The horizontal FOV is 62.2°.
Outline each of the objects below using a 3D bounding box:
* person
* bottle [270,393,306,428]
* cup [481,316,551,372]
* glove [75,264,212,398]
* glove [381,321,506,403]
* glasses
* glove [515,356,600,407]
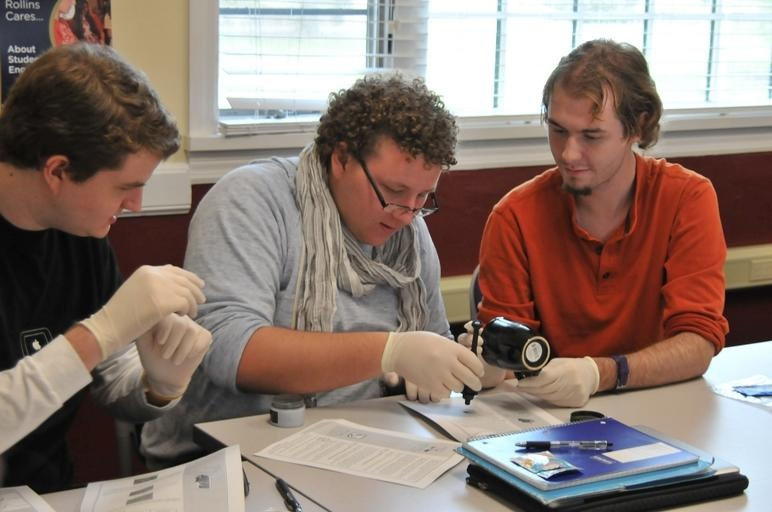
[{"bbox_3d":[-0.106,-0.010,2.061,2.035,0.847,0.706,-2,5,-25],"label":"person"},{"bbox_3d":[-0.269,0.426,1.767,0.089,0.057,0.085,1,0,0],"label":"bottle"},{"bbox_3d":[0.368,0.265,1.920,0.142,0.134,0.183,27,-7,-42],"label":"cup"},{"bbox_3d":[-0.648,0.228,1.672,0.400,0.211,0.195,-38,2,15],"label":"glove"},{"bbox_3d":[0.175,0.325,1.909,0.250,0.129,0.141,10,-6,25],"label":"glove"},{"bbox_3d":[0.067,-0.228,2.073,0.147,0.188,0.327,9,10,44],"label":"glasses"},{"bbox_3d":[0.502,0.392,1.952,0.221,0.121,0.175,-18,-27,29],"label":"glove"}]
